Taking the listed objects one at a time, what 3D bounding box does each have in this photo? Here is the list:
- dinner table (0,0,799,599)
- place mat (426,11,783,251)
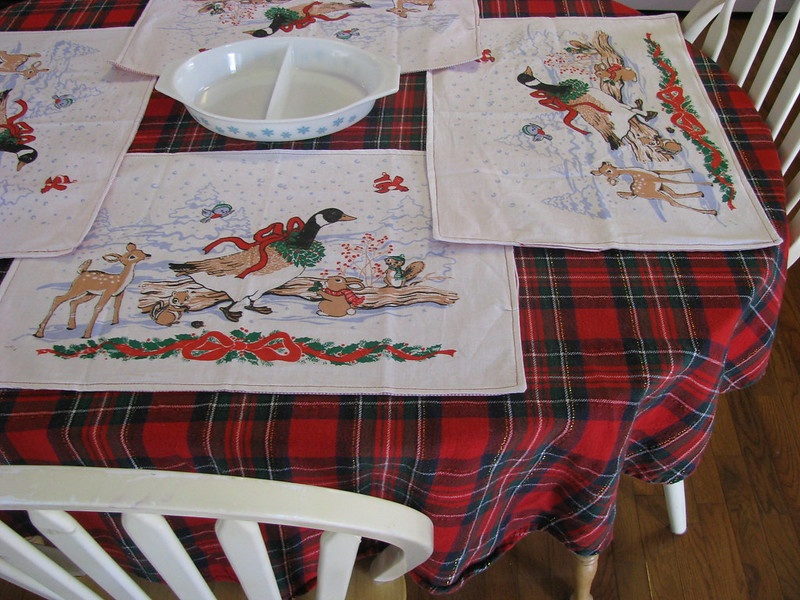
[{"bbox_3d":[0.108,0.047,1.450,1.363,0.256,0.883,-2,71,-1],"label":"dinner table"},{"bbox_3d":[0.347,-0.299,1.248,0.686,0.038,0.480,-2,53,1],"label":"place mat"}]
